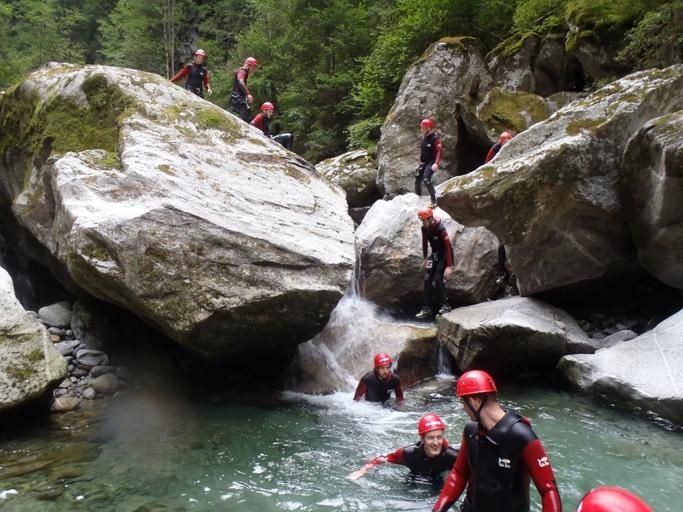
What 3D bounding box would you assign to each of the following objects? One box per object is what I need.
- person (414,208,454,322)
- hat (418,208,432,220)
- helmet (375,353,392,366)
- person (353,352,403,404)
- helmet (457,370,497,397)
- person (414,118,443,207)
[{"bbox_3d":[1.920,0.188,12.467,0.759,2.253,1.350,-2,-4,6],"label":"person"},{"bbox_3d":[1.728,-0.856,12.055,0.261,0.248,0.386,-2,-4,11],"label":"hat"},{"bbox_3d":[0.654,1.758,10.012,0.198,0.119,0.245,-3,-9,-28],"label":"helmet"},{"bbox_3d":[0.631,2.316,10.068,0.901,1.235,0.692,0,13,-3],"label":"person"},{"bbox_3d":[1.490,1.423,6.503,0.362,0.289,0.278,-22,-10,11],"label":"helmet"},{"bbox_3d":[2.057,-2.229,14.126,0.519,2.214,1.070,-2,-3,-1],"label":"person"}]
